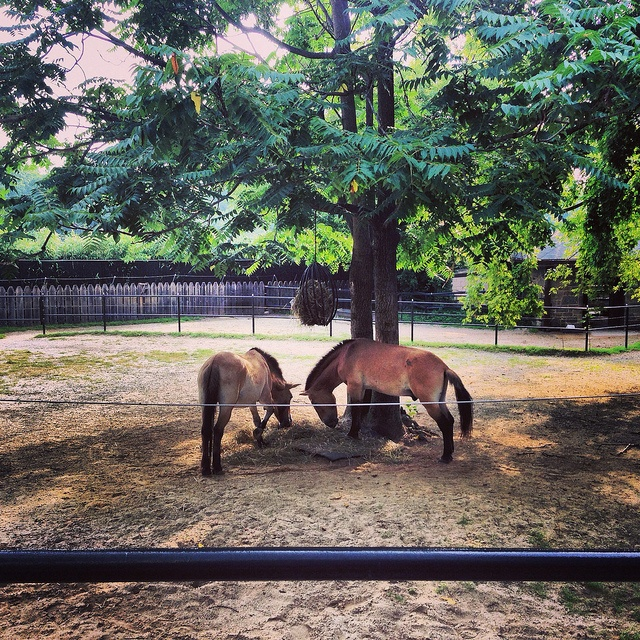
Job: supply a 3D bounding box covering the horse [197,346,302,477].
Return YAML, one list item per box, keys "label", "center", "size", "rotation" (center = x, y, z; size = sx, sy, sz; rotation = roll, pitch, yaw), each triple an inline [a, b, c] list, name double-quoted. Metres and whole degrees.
- label: "horse"
  center: [-0.997, 1.021, 9.189]
  size: [0.788, 1.402, 2.668]
  rotation: [1, 6, 11]

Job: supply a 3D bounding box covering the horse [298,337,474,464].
- label: "horse"
  center: [0.918, 1.058, 9.745]
  size: [2.742, 1.403, 0.620]
  rotation: [4, 5, 38]
